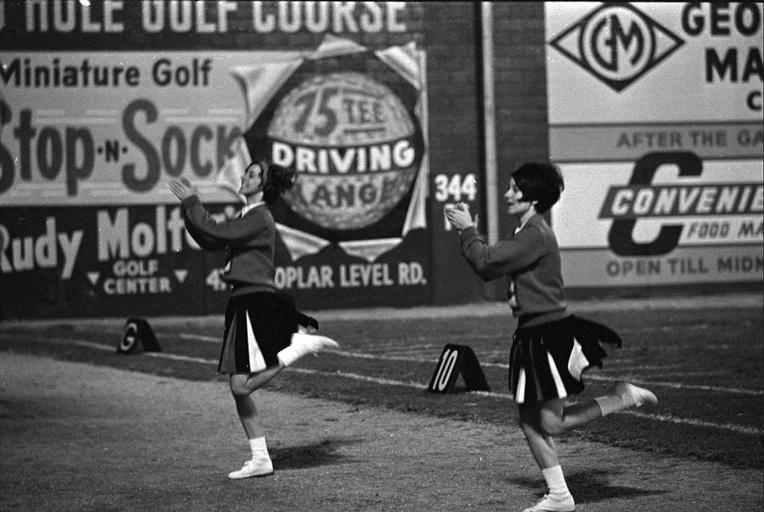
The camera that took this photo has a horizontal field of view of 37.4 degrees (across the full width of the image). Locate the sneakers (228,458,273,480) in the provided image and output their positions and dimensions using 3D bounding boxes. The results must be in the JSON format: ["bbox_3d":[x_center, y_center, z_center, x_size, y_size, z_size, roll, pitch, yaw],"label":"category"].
[{"bbox_3d":[-0.875,1.456,7.713,0.354,0.135,0.121,1,-1,-5],"label":"sneakers"}]

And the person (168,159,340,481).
[{"bbox_3d":[-0.905,0.428,7.841,1.026,2.167,0.402,-1,3,-12],"label":"person"}]

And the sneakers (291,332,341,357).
[{"bbox_3d":[-0.454,0.625,7.826,0.301,0.123,0.169,0,8,-6],"label":"sneakers"}]
